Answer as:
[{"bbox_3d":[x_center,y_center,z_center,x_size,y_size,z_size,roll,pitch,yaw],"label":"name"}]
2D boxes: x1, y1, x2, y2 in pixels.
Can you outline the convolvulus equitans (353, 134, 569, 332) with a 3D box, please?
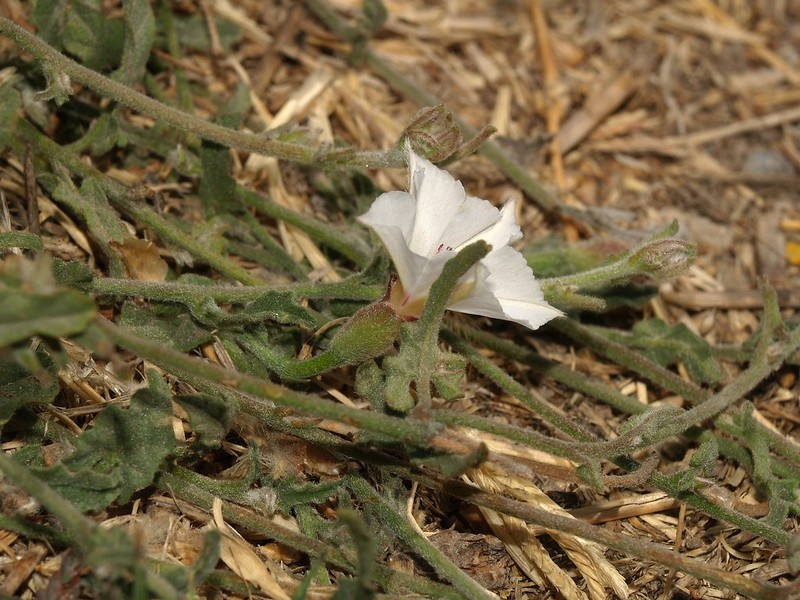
[{"bbox_3d":[0.153,-0.133,2.045,0.421,0.253,0.468,31,32,-40],"label":"convolvulus equitans"}]
